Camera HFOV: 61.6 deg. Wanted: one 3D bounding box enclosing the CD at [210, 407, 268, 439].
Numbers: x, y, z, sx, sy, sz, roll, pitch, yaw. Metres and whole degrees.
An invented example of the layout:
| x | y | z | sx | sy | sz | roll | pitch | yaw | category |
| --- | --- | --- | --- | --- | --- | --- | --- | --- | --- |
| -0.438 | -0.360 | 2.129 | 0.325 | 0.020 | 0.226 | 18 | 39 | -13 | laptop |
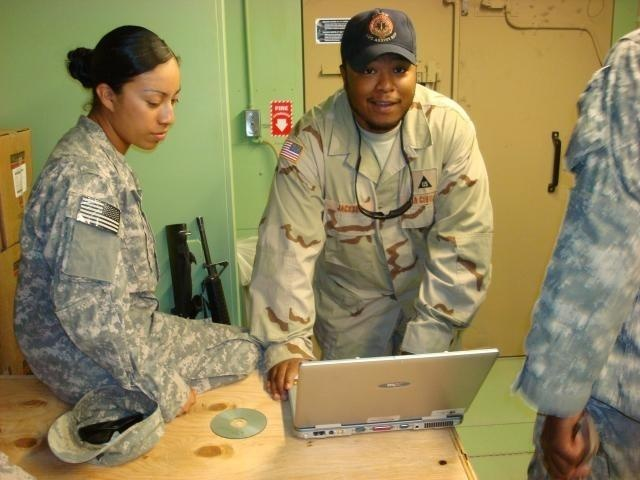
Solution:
| x | y | z | sx | sy | sz | roll | pitch | yaw | category |
| --- | --- | --- | --- | --- | --- | --- | --- | --- | --- |
| -0.230 | 0.515 | 1.516 | 0.159 | 0.014 | 0.136 | -4 | 15 | -6 | CD |

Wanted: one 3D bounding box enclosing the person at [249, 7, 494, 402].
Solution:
| x | y | z | sx | sy | sz | roll | pitch | yaw | category |
| --- | --- | --- | --- | --- | --- | --- | --- | --- | --- |
| 0.229 | -0.190 | 2.162 | 0.692 | 1.730 | 0.870 | -1 | 11 | 3 | person |

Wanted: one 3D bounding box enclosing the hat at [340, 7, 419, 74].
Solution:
| x | y | z | sx | sy | sz | roll | pitch | yaw | category |
| --- | --- | --- | --- | --- | --- | --- | --- | --- | --- |
| 0.219 | -0.757 | 2.055 | 0.203 | 0.163 | 0.284 | -4 | 20 | -7 | hat |

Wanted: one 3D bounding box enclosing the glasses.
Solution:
| x | y | z | sx | sy | sz | roll | pitch | yaw | category |
| --- | --- | --- | --- | --- | --- | --- | --- | --- | --- |
| 0.257 | -0.220 | 2.176 | 0.202 | 0.285 | 0.172 | 2 | 17 | -8 | glasses |

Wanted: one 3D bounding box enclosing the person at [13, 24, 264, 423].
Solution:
| x | y | z | sx | sy | sz | roll | pitch | yaw | category |
| --- | --- | --- | --- | --- | --- | --- | --- | --- | --- |
| -0.637 | -0.062 | 1.896 | 0.661 | 1.248 | 0.768 | 8 | 10 | 19 | person |

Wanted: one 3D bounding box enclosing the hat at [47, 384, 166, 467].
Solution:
| x | y | z | sx | sy | sz | roll | pitch | yaw | category |
| --- | --- | --- | --- | --- | --- | --- | --- | --- | --- |
| -0.578 | 0.500 | 1.453 | 0.278 | 0.121 | 0.235 | -11 | 17 | -29 | hat |
